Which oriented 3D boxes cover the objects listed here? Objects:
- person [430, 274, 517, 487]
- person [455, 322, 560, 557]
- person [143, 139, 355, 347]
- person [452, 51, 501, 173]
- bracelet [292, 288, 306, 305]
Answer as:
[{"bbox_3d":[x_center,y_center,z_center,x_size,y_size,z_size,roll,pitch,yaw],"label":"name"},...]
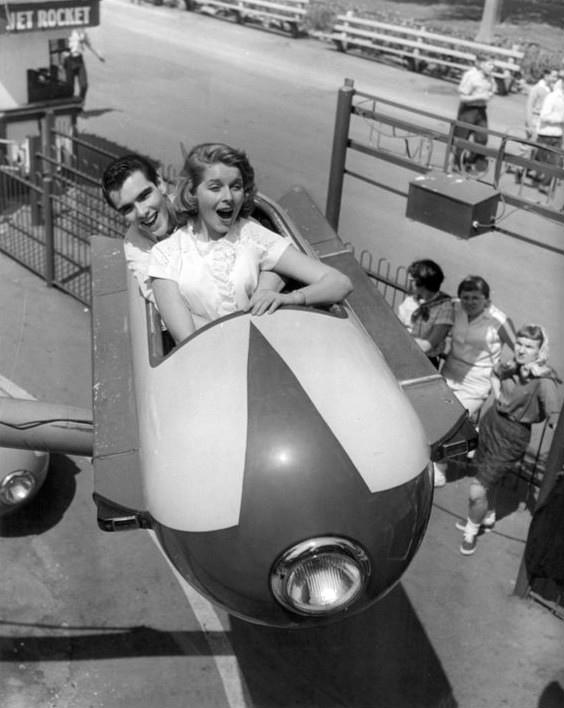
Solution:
[{"bbox_3d":[1.487,0.120,5.220,0.849,1.493,0.758,9,4,25],"label":"person"},{"bbox_3d":[1.700,0.717,4.803,0.509,1.935,0.545,15,23,23],"label":"person"},{"bbox_3d":[-0.175,-0.467,2.744,0.677,0.776,0.795,-13,30,-39],"label":"person"},{"bbox_3d":[4.058,-4.937,13.265,0.694,2.569,0.774,0,45,8],"label":"person"},{"bbox_3d":[0.067,-0.225,2.589,0.040,0.035,0.069,0,40,-5],"label":"bracelet"}]
